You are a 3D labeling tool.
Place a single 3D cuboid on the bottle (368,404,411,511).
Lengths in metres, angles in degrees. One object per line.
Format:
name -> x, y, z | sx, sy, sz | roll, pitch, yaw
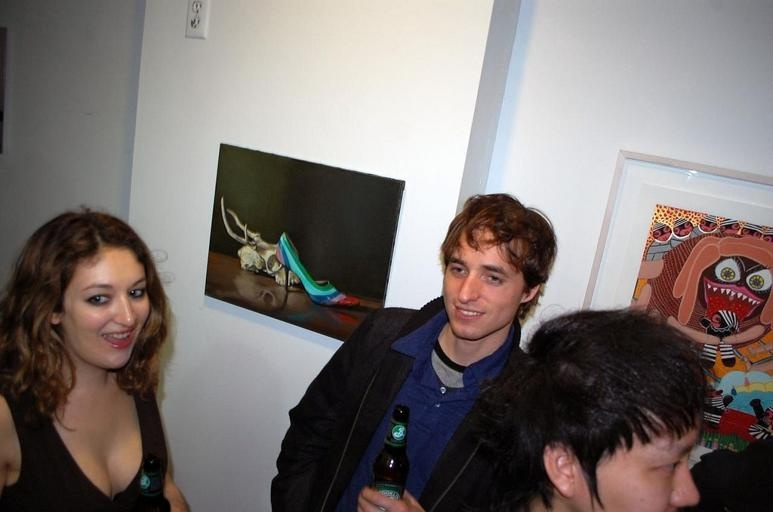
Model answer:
bottle -> 0.027, 0.700, 1.921 | 0.136, 0.388, 0.143 | 6, 10, -1
